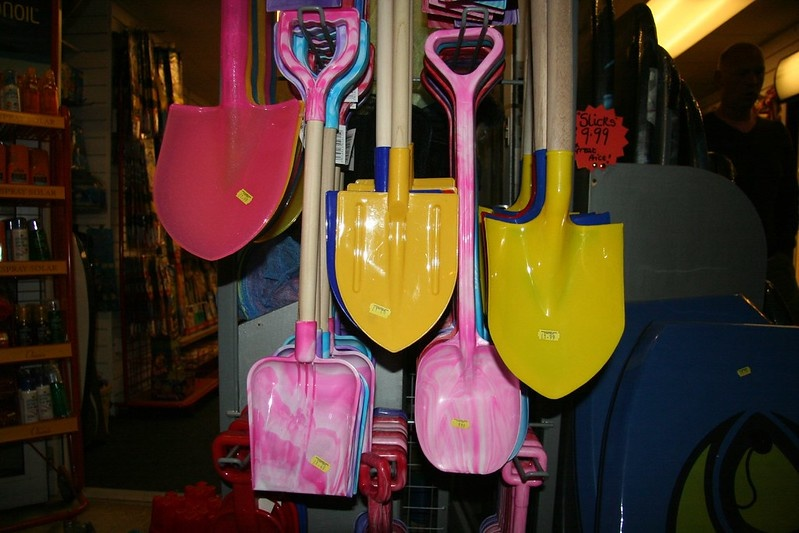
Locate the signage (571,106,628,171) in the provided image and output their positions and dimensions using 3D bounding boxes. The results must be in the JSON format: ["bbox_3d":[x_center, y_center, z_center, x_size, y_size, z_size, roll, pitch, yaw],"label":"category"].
[{"bbox_3d":[0.895,-0.578,3.516,0.276,0.338,0.014,3,28,19],"label":"signage"}]
